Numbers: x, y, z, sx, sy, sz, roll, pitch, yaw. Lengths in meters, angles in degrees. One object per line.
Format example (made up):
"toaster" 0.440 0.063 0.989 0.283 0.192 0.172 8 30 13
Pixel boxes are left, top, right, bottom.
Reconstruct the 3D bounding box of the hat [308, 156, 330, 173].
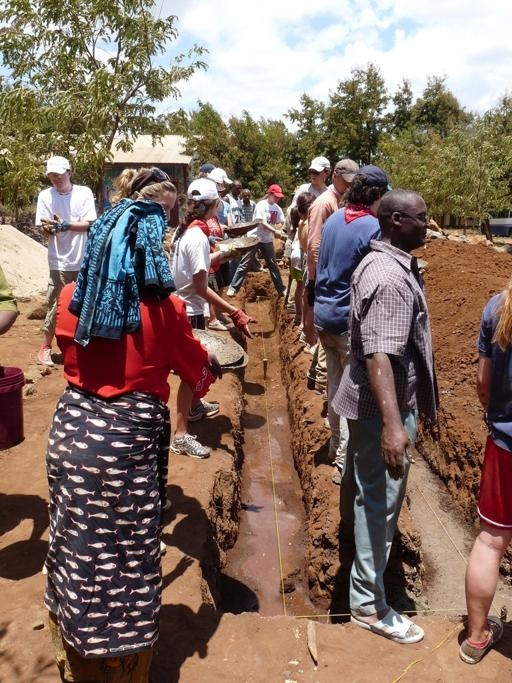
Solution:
"hat" 0.692 -1.907 6.217 0.188 0.124 0.261 4 9 22

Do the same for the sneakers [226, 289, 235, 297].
"sneakers" -0.464 -0.898 10.576 0.207 0.182 0.446 3 3 -4

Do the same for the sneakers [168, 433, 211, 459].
"sneakers" -0.537 0.842 4.685 0.420 0.188 0.151 10 17 -6

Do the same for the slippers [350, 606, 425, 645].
"slippers" 0.626 1.323 2.723 0.307 0.098 0.119 7 18 21

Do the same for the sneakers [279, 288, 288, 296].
"sneakers" 0.478 -0.839 9.963 0.196 0.124 0.240 -5 0 8

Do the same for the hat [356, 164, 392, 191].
"hat" 0.758 -1.051 3.687 0.174 0.133 0.266 20 30 26

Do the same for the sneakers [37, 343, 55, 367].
"sneakers" -2.310 0.158 6.434 0.132 0.202 0.351 7 9 -45

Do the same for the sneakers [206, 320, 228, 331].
"sneakers" -0.543 -0.225 8.088 0.327 0.126 0.106 12 47 0

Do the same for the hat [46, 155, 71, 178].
"hat" -1.903 -1.708 5.568 0.201 0.146 0.270 -2 2 -1

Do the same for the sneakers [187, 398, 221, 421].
"sneakers" -0.471 0.616 5.432 0.144 0.155 0.348 26 29 35

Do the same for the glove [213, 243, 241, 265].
"glove" -0.272 -0.762 5.188 0.218 0.136 0.271 -12 16 3

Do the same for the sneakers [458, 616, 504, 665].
"sneakers" 1.025 1.312 2.613 0.109 0.107 0.292 10 29 38
